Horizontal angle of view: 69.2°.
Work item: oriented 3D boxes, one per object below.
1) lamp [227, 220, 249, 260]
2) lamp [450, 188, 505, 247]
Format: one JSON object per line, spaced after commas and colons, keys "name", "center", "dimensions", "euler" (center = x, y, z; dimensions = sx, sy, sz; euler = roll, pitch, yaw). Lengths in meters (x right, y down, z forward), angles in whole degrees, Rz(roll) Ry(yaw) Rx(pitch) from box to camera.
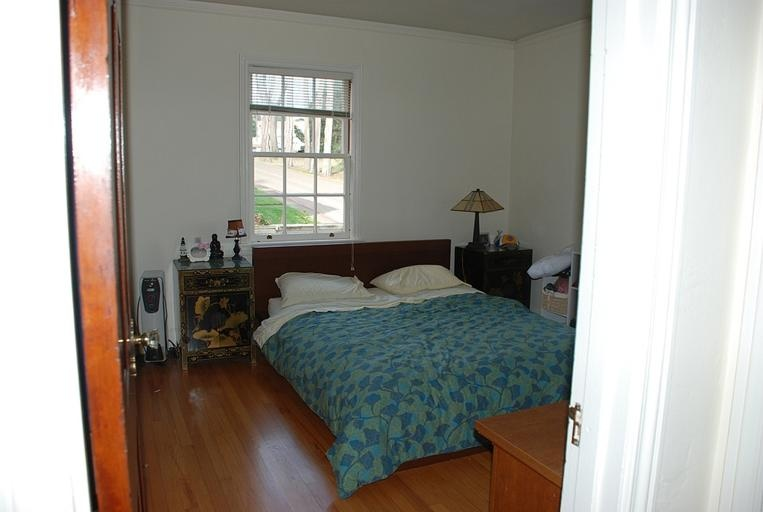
{"name": "lamp", "center": [-1.244, -0.148, 4.810], "dimensions": [0.164, 0.332, 0.374], "euler": [-1, 11, -14]}
{"name": "lamp", "center": [0.922, -0.402, 5.864], "dimensions": [0.560, 0.789, 0.591], "euler": [0, 11, -3]}
